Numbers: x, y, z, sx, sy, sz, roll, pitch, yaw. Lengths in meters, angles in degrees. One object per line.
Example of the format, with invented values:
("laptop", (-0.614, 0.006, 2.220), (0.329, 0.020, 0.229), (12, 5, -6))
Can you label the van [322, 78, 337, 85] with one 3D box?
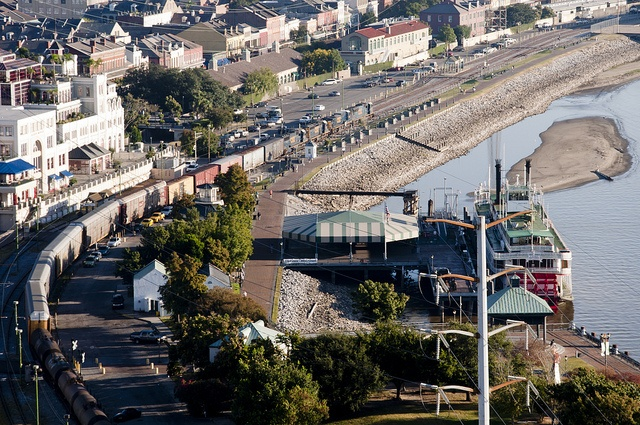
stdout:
("van", (1.335, -23.222, 307.756), (2.270, 0.840, 1.092), (-2, 11, -12))

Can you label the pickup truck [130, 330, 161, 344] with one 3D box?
("pickup truck", (-20.245, 14.312, 205.373), (2.679, 0.912, 1.670), (-1, 27, 0))

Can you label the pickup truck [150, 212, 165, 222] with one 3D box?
("pickup truck", (-21.493, 0.412, 233.144), (1.119, 0.862, 2.568), (0, 4, 0))
